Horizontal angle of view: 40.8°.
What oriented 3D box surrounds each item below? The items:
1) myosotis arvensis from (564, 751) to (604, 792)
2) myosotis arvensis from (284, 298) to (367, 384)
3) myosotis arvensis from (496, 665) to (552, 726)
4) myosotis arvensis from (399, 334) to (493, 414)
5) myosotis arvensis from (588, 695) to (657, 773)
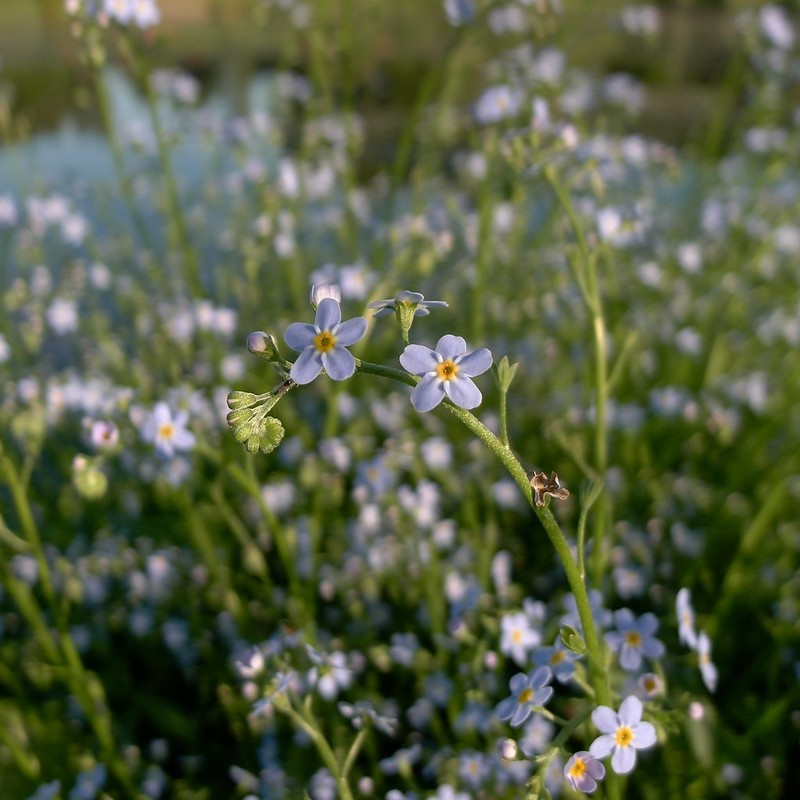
[{"bbox_3d":[0.350,0.714,2.057,0.076,0.065,0.067,15,56,14],"label":"myosotis arvensis"},{"bbox_3d":[-0.139,-0.109,2.030,0.151,0.095,0.154,0,55,4],"label":"myosotis arvensis"},{"bbox_3d":[0.244,0.592,2.145,0.034,0.119,0.136,27,58,-23],"label":"myosotis arvensis"},{"bbox_3d":[0.084,-0.061,2.030,0.169,0.215,0.052,7,68,5],"label":"myosotis arvensis"},{"bbox_3d":[0.428,0.651,2.083,0.150,0.107,0.108,-14,53,-6],"label":"myosotis arvensis"}]
